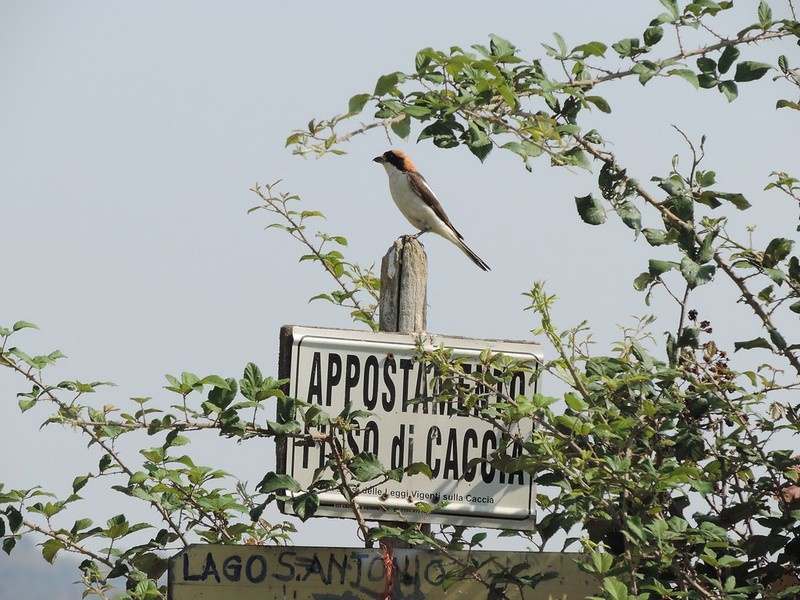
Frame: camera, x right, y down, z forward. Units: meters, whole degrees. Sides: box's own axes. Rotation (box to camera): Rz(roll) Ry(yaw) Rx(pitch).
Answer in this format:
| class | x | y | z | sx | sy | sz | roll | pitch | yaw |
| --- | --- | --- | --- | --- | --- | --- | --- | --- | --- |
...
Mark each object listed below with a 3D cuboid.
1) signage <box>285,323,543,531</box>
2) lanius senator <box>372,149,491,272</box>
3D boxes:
| class | x | y | z | sx | sy | sz | roll | pitch | yaw |
| --- | --- | --- | --- | --- | --- | --- | --- | --- | --- |
| signage | 0.018 | 0.582 | 8.078 | 0.908 | 0.659 | 0.131 | 3 | -7 | -16 |
| lanius senator | 0.184 | -0.546 | 10.769 | 0.793 | 0.503 | 0.264 | 19 | -24 | -16 |
